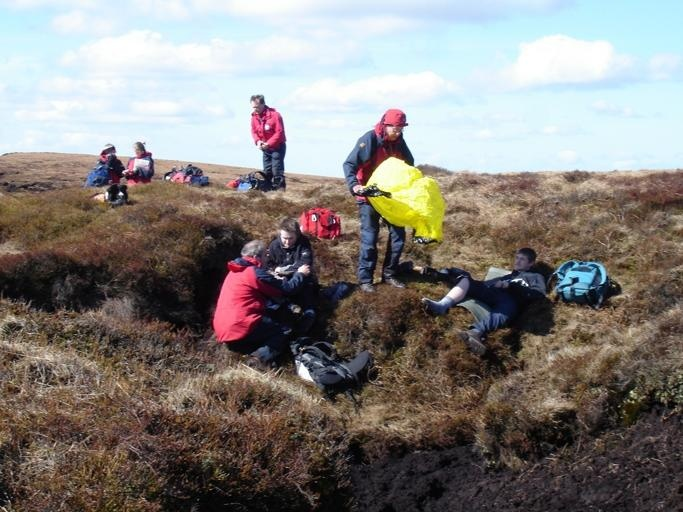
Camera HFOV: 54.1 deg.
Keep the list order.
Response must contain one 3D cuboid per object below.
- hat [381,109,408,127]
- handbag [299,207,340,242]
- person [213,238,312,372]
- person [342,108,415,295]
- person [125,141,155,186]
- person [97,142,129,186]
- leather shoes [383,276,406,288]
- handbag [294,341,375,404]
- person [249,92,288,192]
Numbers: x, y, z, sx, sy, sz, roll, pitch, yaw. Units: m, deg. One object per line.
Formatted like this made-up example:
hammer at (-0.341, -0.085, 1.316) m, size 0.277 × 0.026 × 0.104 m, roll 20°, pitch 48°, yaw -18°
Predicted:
hat at (0.954, -2.444, 11.912) m, size 0.243 × 0.293 × 0.505 m, roll -10°, pitch 16°, yaw -32°
handbag at (-0.359, -0.707, 14.638) m, size 0.767 × 0.591 × 0.765 m, roll 4°, pitch -6°, yaw 40°
person at (-1.413, 0.822, 11.583) m, size 1.538 × 2.010 × 0.979 m, roll -8°, pitch 15°, yaw -26°
person at (0.666, -0.989, 12.383) m, size 1.176 × 3.331 × 1.043 m, roll 0°, pitch 14°, yaw 4°
person at (-5.571, -2.499, 18.170) m, size 0.790 × 1.117 × 1.260 m, roll -6°, pitch 14°, yaw -17°
person at (-6.079, -2.433, 17.627) m, size 0.633 × 1.028 × 1.192 m, roll -6°, pitch 14°, yaw -18°
leather shoes at (1.001, 0.506, 12.941) m, size 0.469 × 0.175 × 0.163 m, roll 10°, pitch 26°, yaw 27°
handbag at (-0.333, 1.882, 11.394) m, size 1.075 × 0.381 × 1.074 m, roll 25°, pitch 24°, yaw 15°
person at (-1.993, -3.024, 18.117) m, size 0.850 × 2.529 × 0.843 m, roll -3°, pitch 14°, yaw -7°
